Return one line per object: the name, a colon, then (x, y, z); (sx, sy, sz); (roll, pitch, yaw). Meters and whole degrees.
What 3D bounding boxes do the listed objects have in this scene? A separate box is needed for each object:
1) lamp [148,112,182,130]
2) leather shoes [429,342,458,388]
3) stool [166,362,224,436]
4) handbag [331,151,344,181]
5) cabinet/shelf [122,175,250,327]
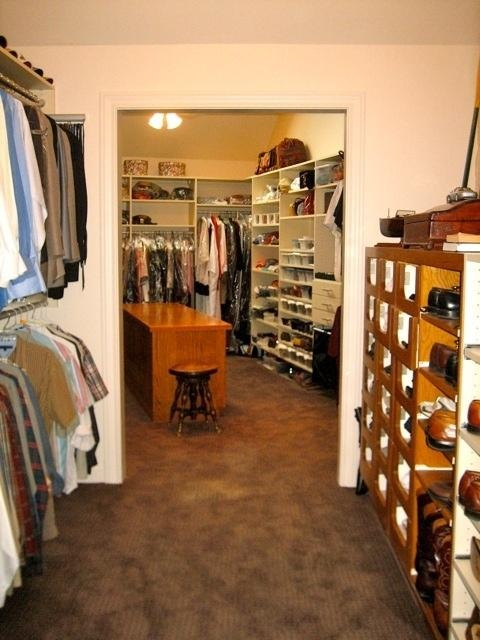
lamp: (-0.746, -2.019, 4.767); (0.279, 0.115, 0.352); (2, 13, -4)
leather shoes: (0.528, 0.114, 1.211); (0.043, 0.076, 0.172); (1, 9, 4)
stool: (-0.389, 0.621, 3.870); (0.430, 0.679, 0.460); (-2, 13, -15)
handbag: (0.931, -1.450, 4.477); (0.087, 0.267, 0.502); (4, 13, 8)
cabinet/shelf: (-0.738, -1.130, 6.835); (1.847, 1.930, 1.342); (-1, 12, -18)
